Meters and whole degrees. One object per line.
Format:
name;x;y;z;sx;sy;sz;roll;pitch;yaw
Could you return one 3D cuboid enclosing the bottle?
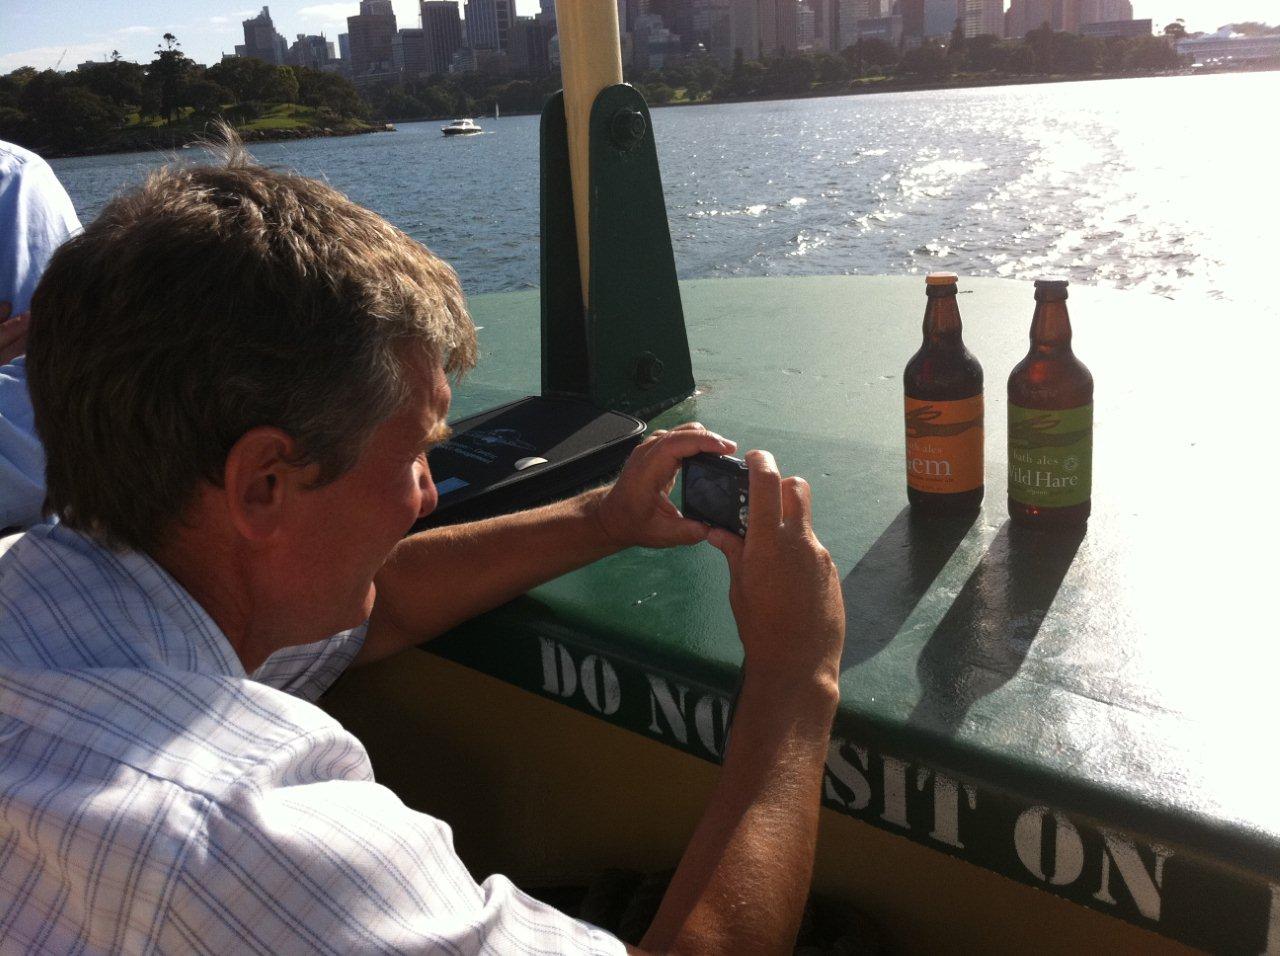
bottle;0.438;-0.090;1.332;0.224;0.319;0.113;4;21;22
